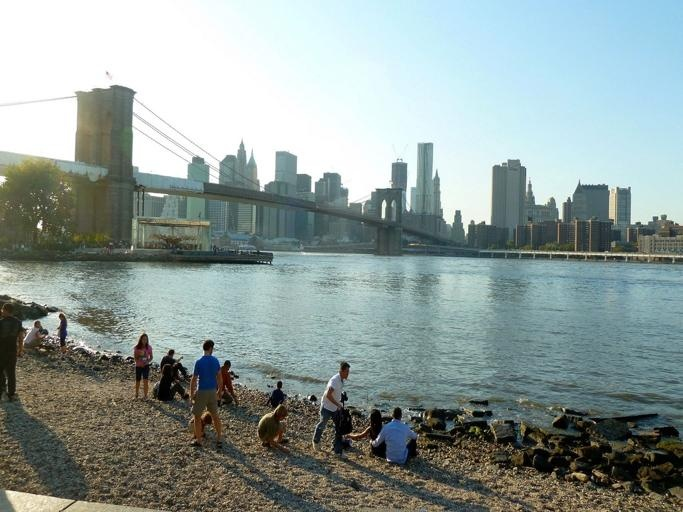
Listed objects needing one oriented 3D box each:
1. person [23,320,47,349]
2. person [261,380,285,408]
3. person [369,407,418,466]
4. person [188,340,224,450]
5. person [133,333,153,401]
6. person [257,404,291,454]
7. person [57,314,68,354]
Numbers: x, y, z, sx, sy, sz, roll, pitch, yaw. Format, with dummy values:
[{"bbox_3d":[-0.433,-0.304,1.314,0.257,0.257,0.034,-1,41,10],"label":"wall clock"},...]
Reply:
[{"bbox_3d":[-11.493,2.986,26.274,0.819,1.229,0.722,-7,28,-43],"label":"person"},{"bbox_3d":[-2.134,4.306,21.663,0.580,0.856,0.617,13,16,10],"label":"person"},{"bbox_3d":[1.479,4.860,18.847,1.141,1.622,1.178,-1,11,9],"label":"person"},{"bbox_3d":[-3.517,3.542,18.360,0.855,2.842,0.874,2,4,-10],"label":"person"},{"bbox_3d":[-5.868,3.256,20.691,0.446,2.006,0.785,2,4,-16],"label":"person"},{"bbox_3d":[-1.806,4.487,18.539,0.781,1.205,0.681,3,4,-7],"label":"person"},{"bbox_3d":[-9.831,2.706,24.683,0.212,1.477,0.656,2,4,-19],"label":"person"}]
